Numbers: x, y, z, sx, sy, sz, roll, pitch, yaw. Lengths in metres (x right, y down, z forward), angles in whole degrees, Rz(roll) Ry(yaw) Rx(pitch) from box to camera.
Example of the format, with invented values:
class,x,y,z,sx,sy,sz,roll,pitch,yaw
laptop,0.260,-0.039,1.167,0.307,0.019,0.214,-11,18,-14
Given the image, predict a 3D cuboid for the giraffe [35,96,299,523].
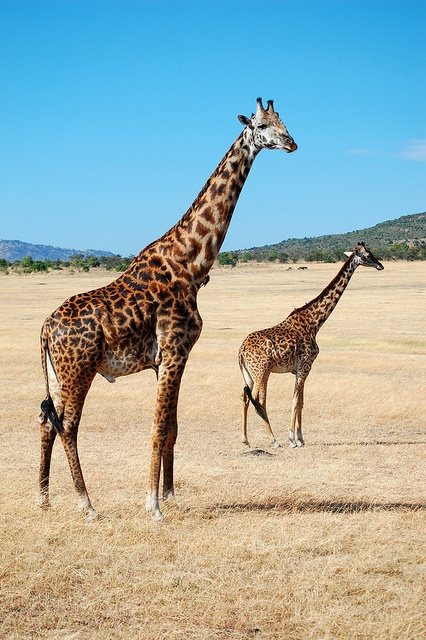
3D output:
class,x,y,z,sx,sy,sz,roll,pitch,yaw
giraffe,-0.548,-0.190,6.952,2.166,3.582,0.767,-1,0,-20
